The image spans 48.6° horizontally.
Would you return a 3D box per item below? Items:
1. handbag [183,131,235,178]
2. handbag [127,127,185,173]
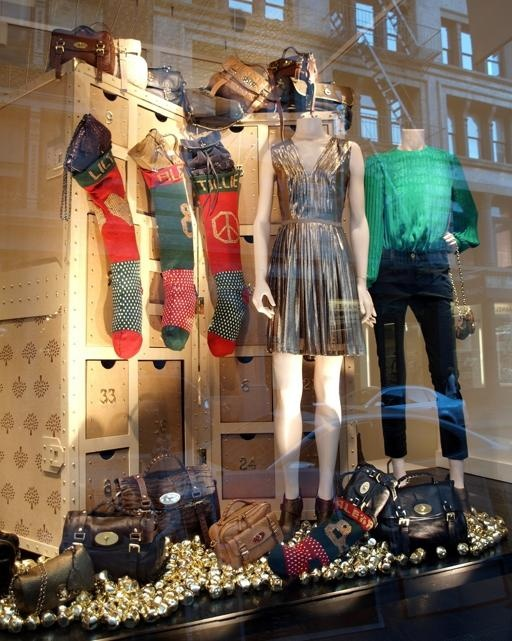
[{"bbox_3d":[-0.179,-0.586,2.080,0.172,0.161,0.069,-14,5,-15],"label":"handbag"},{"bbox_3d":[-0.367,-0.607,2.042,0.181,0.162,0.103,4,16,-34],"label":"handbag"}]
